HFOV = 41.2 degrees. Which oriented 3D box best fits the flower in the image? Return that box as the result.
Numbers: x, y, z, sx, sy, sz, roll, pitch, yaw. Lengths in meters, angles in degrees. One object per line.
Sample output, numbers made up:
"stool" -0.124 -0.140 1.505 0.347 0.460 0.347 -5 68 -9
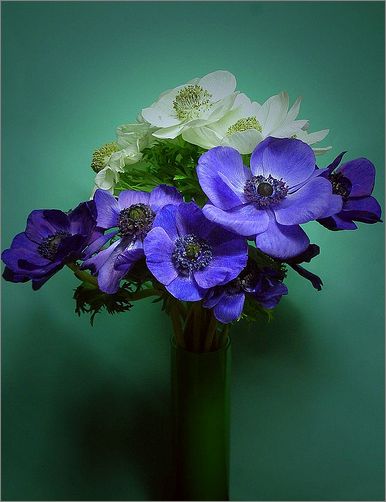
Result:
"flower" 0.035 -0.067 0.899 0.509 0.448 0.400 -1 -5 9
